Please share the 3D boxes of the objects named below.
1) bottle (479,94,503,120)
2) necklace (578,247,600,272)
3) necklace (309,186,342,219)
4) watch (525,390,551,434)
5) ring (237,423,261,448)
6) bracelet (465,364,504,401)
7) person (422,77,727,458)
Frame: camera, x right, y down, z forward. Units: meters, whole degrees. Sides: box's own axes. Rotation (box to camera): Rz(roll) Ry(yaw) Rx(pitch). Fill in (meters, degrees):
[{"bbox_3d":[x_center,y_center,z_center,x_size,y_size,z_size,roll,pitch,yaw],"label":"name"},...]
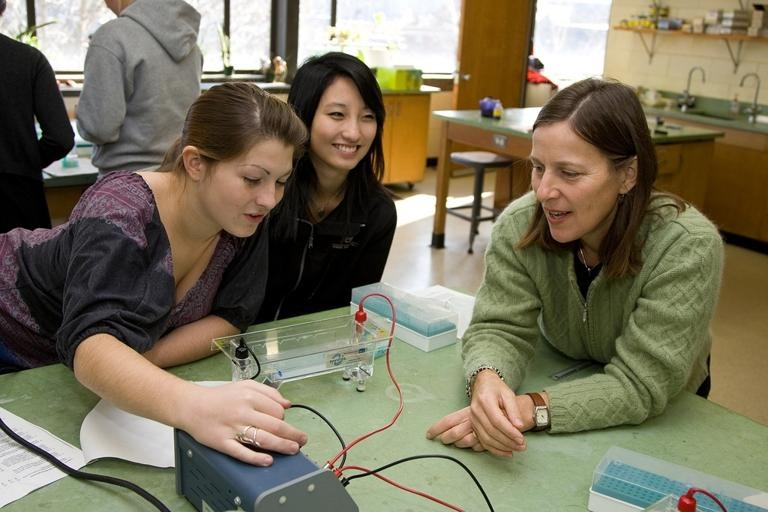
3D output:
[{"bbox_3d":[1.002,-1.363,5.065,0.236,0.214,0.175,-16,26,-38],"label":"bottle"},{"bbox_3d":[0.665,0.015,1.825,0.056,0.078,0.028,-23,-14,-45],"label":"necklace"},{"bbox_3d":[-0.245,-0.209,2.275,0.093,0.135,0.032,17,-8,-7],"label":"necklace"},{"bbox_3d":[0.443,0.444,1.576,0.053,0.080,0.086,2,12,-12],"label":"watch"},{"bbox_3d":[-0.302,0.397,1.231,0.050,0.021,0.039,11,54,19],"label":"ring"},{"bbox_3d":[0.293,0.381,1.686,0.094,0.127,0.054,23,31,-46],"label":"bracelet"},{"bbox_3d":[0.660,0.004,1.806,0.727,1.052,1.174,12,26,39],"label":"person"}]
